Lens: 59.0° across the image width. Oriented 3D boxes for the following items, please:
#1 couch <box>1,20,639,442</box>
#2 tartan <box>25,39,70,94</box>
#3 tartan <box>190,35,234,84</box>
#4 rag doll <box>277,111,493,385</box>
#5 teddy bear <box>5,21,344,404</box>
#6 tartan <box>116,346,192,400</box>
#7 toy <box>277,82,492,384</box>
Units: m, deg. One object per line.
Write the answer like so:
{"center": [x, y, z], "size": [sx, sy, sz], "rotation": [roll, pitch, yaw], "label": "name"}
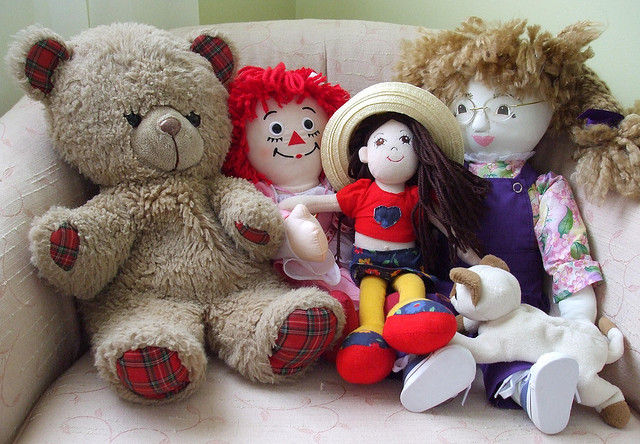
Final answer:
{"center": [-0.053, -0.031, 1.627], "size": [1.342, 1.170, 1.091], "rotation": [-1, 9, -1], "label": "couch"}
{"center": [-0.638, -0.372, 1.297], "size": [0.109, 0.142, 0.037], "rotation": [-10, 10, -10], "label": "tartan"}
{"center": [-0.268, -0.406, 1.418], "size": [0.028, 0.105, 0.100], "rotation": [-3, 63, 35], "label": "tartan"}
{"center": [0.164, 0.003, 1.428], "size": [0.576, 0.367, 0.760], "rotation": [0, 44, 8], "label": "rag doll"}
{"center": [-0.267, -0.142, 1.557], "size": [0.727, 0.975, 0.870], "rotation": [-14, 20, -29], "label": "teddy bear"}
{"center": [-0.345, 0.316, 1.175], "size": [0.138, 0.119, 0.037], "rotation": [-4, 31, -5], "label": "tartan"}
{"center": [0.160, -0.019, 1.411], "size": [0.487, 0.397, 0.789], "rotation": [-1, 49, -1], "label": "toy"}
